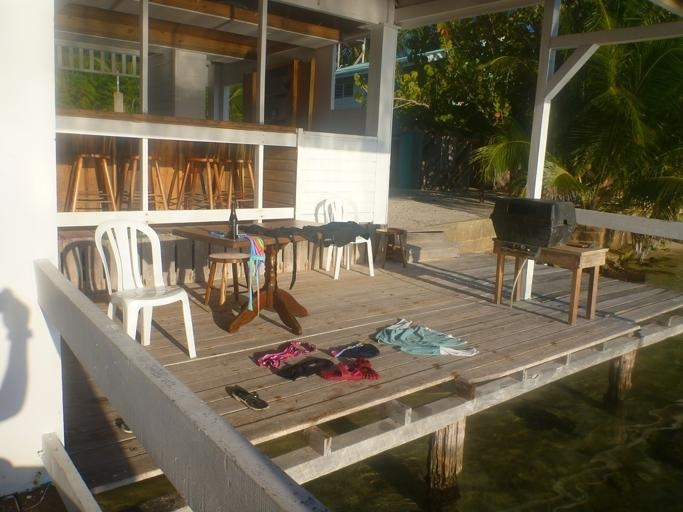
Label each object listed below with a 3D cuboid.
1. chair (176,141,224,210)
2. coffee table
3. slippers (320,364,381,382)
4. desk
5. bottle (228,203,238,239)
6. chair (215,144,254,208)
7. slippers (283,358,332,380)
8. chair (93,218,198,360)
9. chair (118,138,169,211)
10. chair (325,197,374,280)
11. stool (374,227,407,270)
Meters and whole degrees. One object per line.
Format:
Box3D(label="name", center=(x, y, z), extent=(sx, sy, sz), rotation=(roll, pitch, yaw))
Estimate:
Box3D(label="chair", center=(-2.043, -0.985, 7.576), extent=(0.592, 0.804, 0.578), rotation=(6, 11, 3))
Box3D(label="coffee table", center=(-0.681, 0.270, 4.698), extent=(1.051, 0.766, 0.987), rotation=(-17, 29, -39))
Box3D(label="slippers", center=(0.049, 0.789, 3.688), extent=(0.402, 0.059, 0.213), rotation=(1, 11, -6))
Box3D(label="desk", center=(2.031, 0.222, 5.377), extent=(0.468, 0.721, 0.956), rotation=(-7, 13, -37))
Box3D(label="bottle", center=(-0.945, -0.322, 4.609), extent=(0.077, 0.276, 0.458), rotation=(0, 12, -13))
Box3D(label="chair", center=(-1.591, -1.129, 7.613), extent=(0.602, 0.722, 0.583), rotation=(-6, 13, -9))
Box3D(label="slippers", center=(-0.267, 0.777, 3.690), extent=(0.219, 0.054, 0.146), rotation=(-15, 14, -39))
Box3D(label="chair", center=(-1.597, 0.183, 4.269), extent=(0.647, 0.984, 1.612), rotation=(-3, 12, -24))
Box3D(label="chair", center=(-2.600, -1.011, 6.855), extent=(0.657, 0.956, 1.754), rotation=(-1, 12, -16))
Box3D(label="chair", center=(0.061, -0.219, 6.625), extent=(0.593, 0.913, 0.596), rotation=(-15, 23, -40))
Box3D(label="stool", center=(0.684, -0.134, 7.499), extent=(0.398, 0.470, 0.418), rotation=(2, 9, 2))
